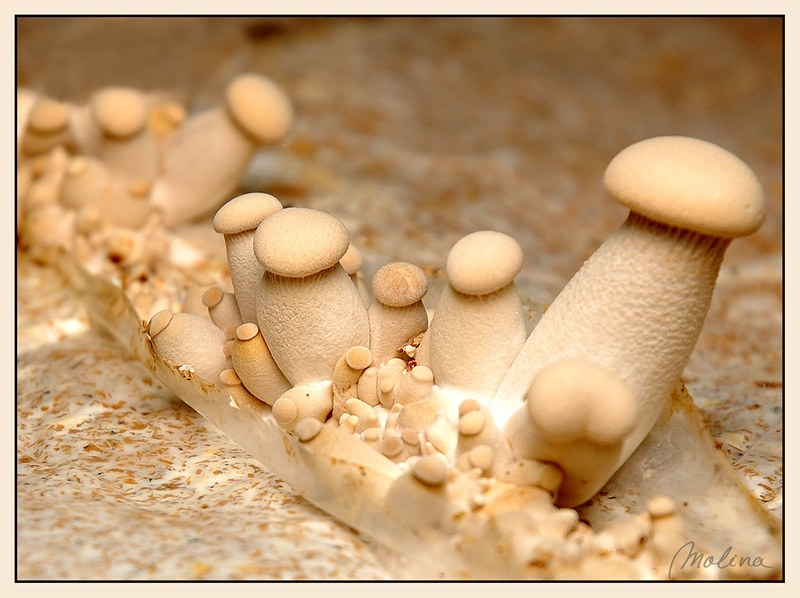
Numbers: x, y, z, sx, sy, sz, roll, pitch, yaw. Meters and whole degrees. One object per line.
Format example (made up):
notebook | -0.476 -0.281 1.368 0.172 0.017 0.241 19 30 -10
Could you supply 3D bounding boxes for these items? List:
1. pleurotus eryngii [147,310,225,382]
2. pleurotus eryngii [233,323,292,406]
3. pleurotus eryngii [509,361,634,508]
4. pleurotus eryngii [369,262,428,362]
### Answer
pleurotus eryngii | -0.574 0.131 2.500 0.202 0.146 0.163 -6 36 -21
pleurotus eryngii | -0.372 0.201 2.488 0.145 0.242 0.138 -21 17 -24
pleurotus eryngii | 0.376 0.292 2.059 0.162 0.279 0.192 -24 47 -30
pleurotus eryngii | -0.027 0.035 2.454 0.172 0.273 0.153 -10 35 -23
